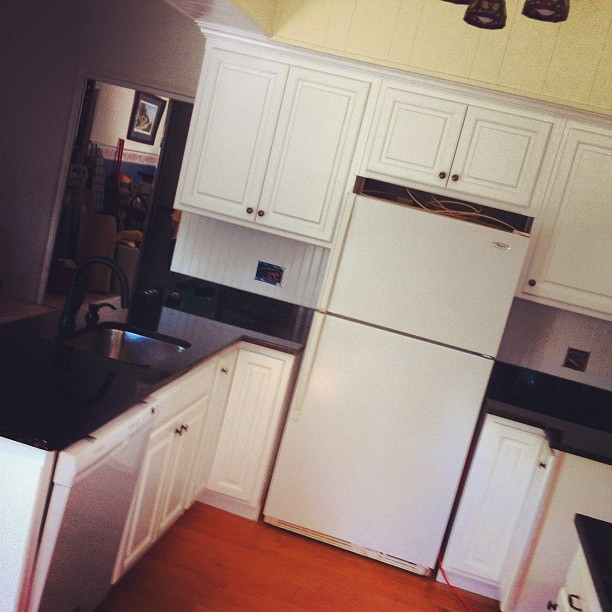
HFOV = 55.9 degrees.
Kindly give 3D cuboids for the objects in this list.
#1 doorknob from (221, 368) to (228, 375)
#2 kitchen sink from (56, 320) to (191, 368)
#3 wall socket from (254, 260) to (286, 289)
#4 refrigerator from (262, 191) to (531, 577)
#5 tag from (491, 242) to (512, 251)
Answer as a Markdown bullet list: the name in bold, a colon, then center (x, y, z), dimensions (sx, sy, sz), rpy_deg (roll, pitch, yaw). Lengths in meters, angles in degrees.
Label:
- **doorknob**: center (-0.358, 0.285, 2.510), dimensions (0.024, 0.025, 0.030), rpy_deg (4, 14, 3)
- **kitchen sink**: center (-0.687, 0.145, 2.129), dimensions (0.256, 0.089, 0.285), rpy_deg (14, 7, 9)
- **wall socket**: center (-0.198, -0.184, 3.226), dimensions (0.151, 0.110, 0.015), rpy_deg (16, 13, 4)
- **refrigerator**: center (0.399, 0.393, 3.082), dimensions (1.169, 2.101, 0.781), rpy_deg (15, 6, 5)
- **tag**: center (0.814, -0.250, 2.399), dimensions (0.097, 0.029, 0.024), rpy_deg (13, 7, 2)
